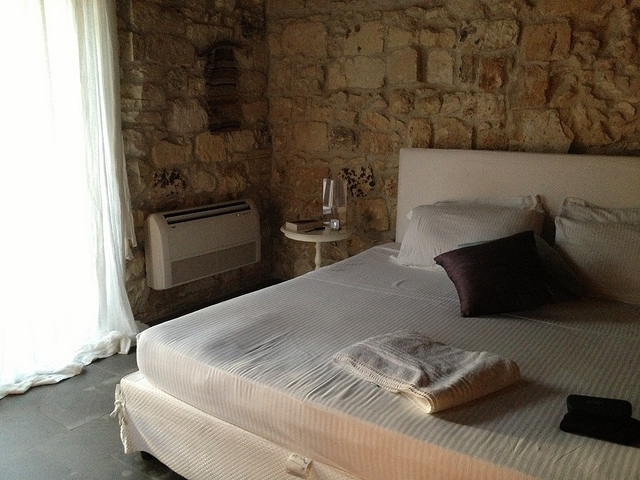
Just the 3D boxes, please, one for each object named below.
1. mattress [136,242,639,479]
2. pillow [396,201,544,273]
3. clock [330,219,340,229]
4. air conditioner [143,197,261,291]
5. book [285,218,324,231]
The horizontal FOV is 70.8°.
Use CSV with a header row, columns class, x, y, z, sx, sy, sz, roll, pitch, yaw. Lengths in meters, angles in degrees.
class,x,y,z,sx,sy,sz,roll,pitch,yaw
mattress,0.340,0.571,2.112,2.210,0.353,1.289,2,14,16
pillow,1.060,-0.158,3.170,0.859,0.491,0.607,11,16,37
clock,0.126,-0.137,3.839,0.079,0.078,0.011,6,17,24
air conditioner,-0.974,-0.019,3.970,1.032,0.633,0.265,-15,29,-41
book,-0.118,-0.134,3.910,0.336,0.068,0.138,-9,15,-28
